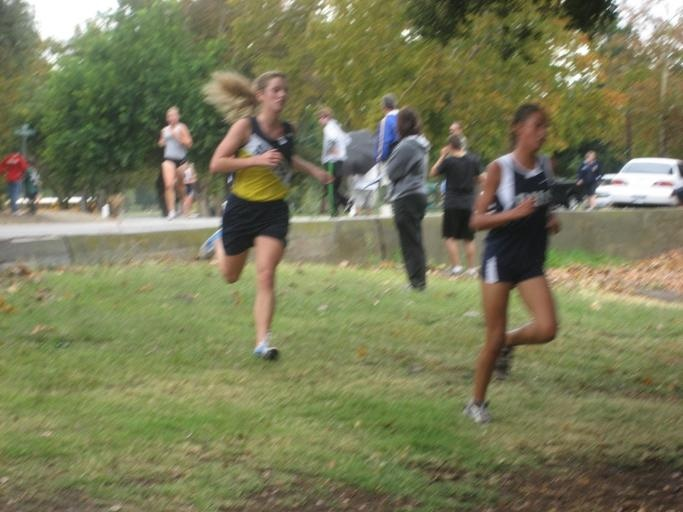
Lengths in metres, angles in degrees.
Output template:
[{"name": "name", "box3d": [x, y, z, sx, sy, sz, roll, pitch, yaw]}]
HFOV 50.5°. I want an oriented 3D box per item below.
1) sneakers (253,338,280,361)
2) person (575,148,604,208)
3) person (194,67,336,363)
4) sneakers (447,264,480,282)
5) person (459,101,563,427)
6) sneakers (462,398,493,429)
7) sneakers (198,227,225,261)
[{"name": "sneakers", "box3d": [-0.651, 0.822, 6.294, 0.120, 0.128, 0.268, -17, -10, -25]}, {"name": "person", "box3d": [7.922, -2.300, 23.345, 0.797, 2.457, 0.658, -2, -27, 28]}, {"name": "person", "box3d": [-0.822, -0.388, 6.481, 0.903, 2.463, 0.977, 3, 12, 3]}, {"name": "sneakers", "box3d": [1.910, 0.254, 11.035, 0.590, 0.251, 0.196, 1, -2, -2]}, {"name": "person", "box3d": [1.276, 0.044, 5.273, 0.637, 2.251, 0.868, 6, 13, 17]}, {"name": "sneakers", "box3d": [0.965, 1.118, 5.231, 0.093, 0.111, 0.268, 5, -3, -27]}, {"name": "sneakers", "box3d": [-1.582, -0.131, 8.731, 0.235, 0.180, 0.523, 16, -38, -19]}]
